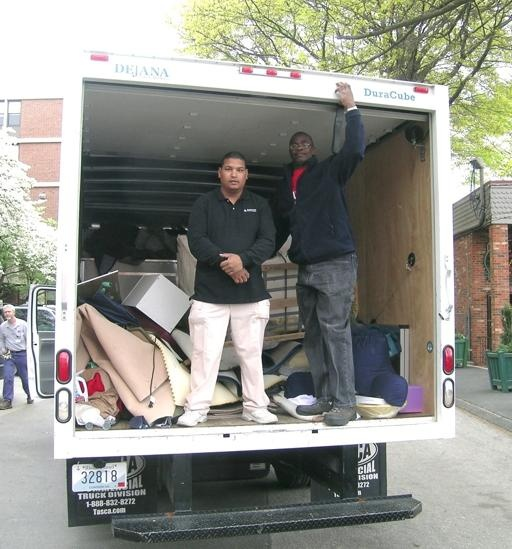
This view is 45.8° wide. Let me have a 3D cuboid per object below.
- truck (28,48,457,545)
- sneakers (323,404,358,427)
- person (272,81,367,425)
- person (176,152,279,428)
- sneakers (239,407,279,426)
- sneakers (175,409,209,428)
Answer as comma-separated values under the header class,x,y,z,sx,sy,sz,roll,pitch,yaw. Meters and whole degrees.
class,x,y,z,sx,sy,sz,roll,pitch,yaw
truck,-0.145,0.172,4.939,2.272,2.298,3.807,1,-4,-9
sneakers,0.496,0.831,3.542,0.078,0.100,0.214,0,-7,43
person,0.427,-0.111,3.842,0.391,1.998,0.858,1,-4,-22
person,-0.161,0.039,3.784,0.653,1.713,0.566,1,-4,-13
sneakers,0.022,0.847,3.627,0.221,0.100,0.081,-8,-10,43
sneakers,-0.374,0.826,3.490,0.140,0.072,0.233,-1,-3,6
